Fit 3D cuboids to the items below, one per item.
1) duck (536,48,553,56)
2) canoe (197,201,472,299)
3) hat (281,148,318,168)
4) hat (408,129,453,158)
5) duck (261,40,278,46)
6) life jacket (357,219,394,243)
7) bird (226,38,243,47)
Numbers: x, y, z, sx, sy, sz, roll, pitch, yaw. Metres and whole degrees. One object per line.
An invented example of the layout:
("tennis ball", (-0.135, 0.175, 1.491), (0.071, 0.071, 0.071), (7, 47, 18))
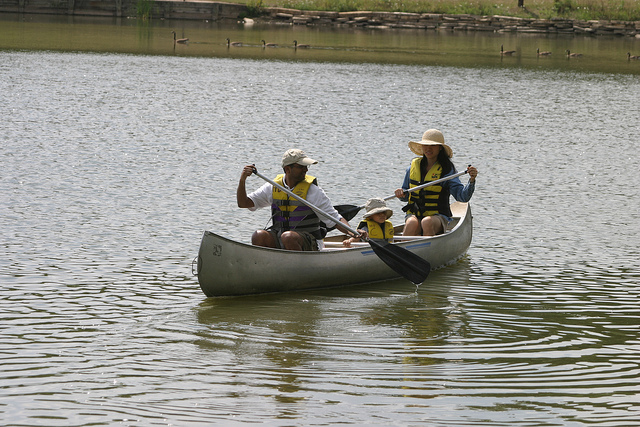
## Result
("duck", (7.610, -5.617, 39.393), (0.404, 0.239, 0.690), (1, 8, 9))
("canoe", (-0.255, 0.644, 17.204), (5.928, 1.154, 1.214), (-5, 16, -19))
("hat", (-0.334, -0.807, 16.451), (0.469, 0.159, 0.266), (-1, 7, 1))
("hat", (1.654, -1.101, 17.808), (0.471, 0.445, 0.666), (-6, 11, -32))
("duck", (-1.747, -6.002, 39.905), (0.695, 0.149, 0.279), (-4, -6, 17))
("life jacket", (0.802, 0.242, 17.087), (0.492, 0.400, 0.380), (-2, 2, -11))
("bird", (-2.872, -5.972, 39.600), (0.793, 0.414, 0.271), (0, 7, 1))
